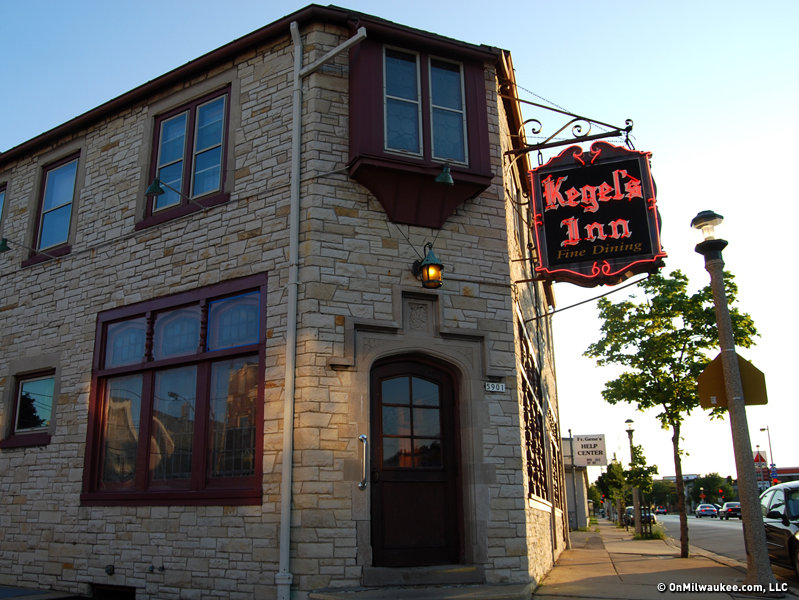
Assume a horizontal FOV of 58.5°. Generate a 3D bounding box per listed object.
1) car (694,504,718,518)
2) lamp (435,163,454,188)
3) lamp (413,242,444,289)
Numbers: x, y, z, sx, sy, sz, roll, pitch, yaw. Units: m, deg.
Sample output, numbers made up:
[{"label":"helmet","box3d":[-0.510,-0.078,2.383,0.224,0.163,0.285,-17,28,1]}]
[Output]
[{"label":"car","box3d":[26.601,18.523,62.004,1.456,0.827,2.739,0,-10,8]},{"label":"lamp","box3d":[0.753,-2.077,11.757,0.403,0.377,0.374,1,-9,3]},{"label":"lamp","box3d":[0.508,-0.616,11.783,0.558,0.914,0.602,0,-19,-9]}]
